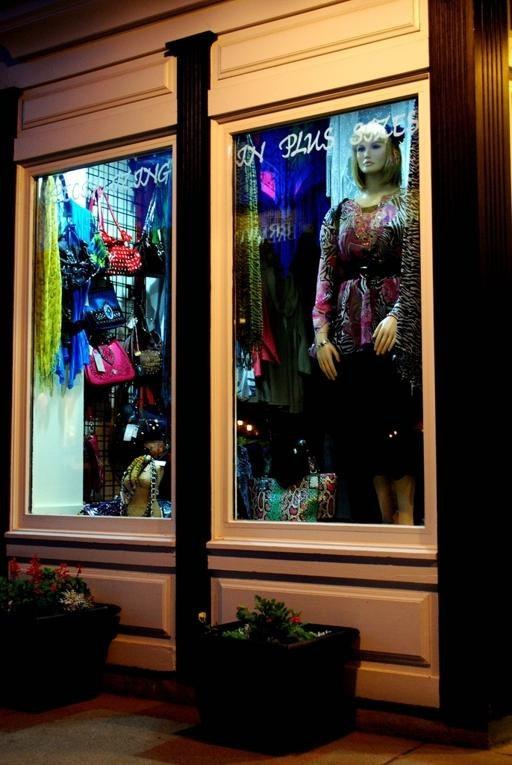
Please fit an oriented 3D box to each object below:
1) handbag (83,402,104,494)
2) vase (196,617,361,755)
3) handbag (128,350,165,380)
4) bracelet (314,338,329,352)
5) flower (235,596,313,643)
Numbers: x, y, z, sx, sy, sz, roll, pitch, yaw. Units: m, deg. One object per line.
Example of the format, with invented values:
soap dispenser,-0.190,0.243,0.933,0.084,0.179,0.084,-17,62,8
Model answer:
handbag,-0.804,0.393,3.526,0.076,0.290,0.072,0,-5,-39
vase,0.070,0.925,2.354,0.401,0.348,0.394,-6,-12,35
handbag,-0.513,-0.087,3.376,0.104,0.156,0.055,-12,-9,24
bracelet,0.264,-0.153,2.909,0.046,0.042,0.012,-49,-1,25
flower,0.074,0.806,2.358,0.152,0.122,0.189,-3,-15,32
